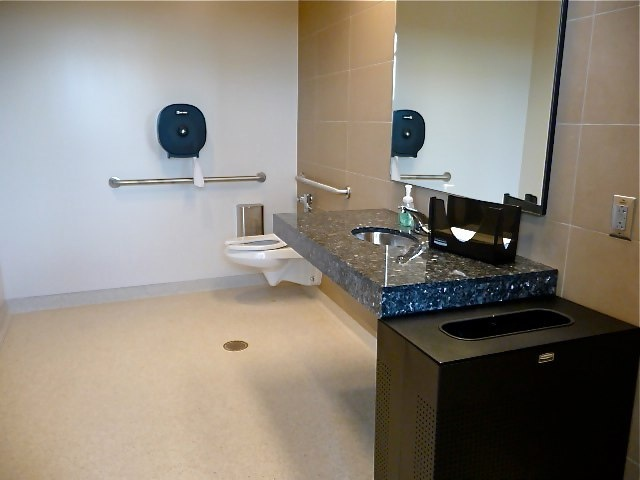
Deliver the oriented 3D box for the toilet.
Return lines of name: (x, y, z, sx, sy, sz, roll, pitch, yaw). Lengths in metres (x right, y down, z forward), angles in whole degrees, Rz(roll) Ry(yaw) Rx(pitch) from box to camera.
toilet: (-0.369, 0.165, 3.720, 0.664, 0.450, 0.402, -2, 17, -22)

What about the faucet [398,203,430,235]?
faucet: (0.509, -0.104, 2.481, 0.083, 0.072, 0.178, -6, 16, -7)
